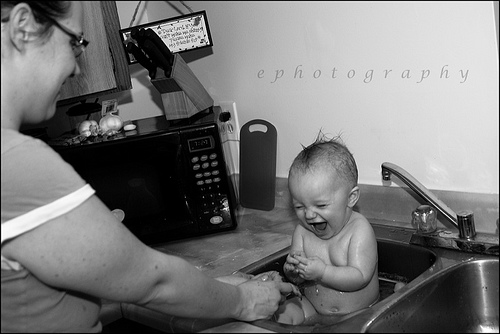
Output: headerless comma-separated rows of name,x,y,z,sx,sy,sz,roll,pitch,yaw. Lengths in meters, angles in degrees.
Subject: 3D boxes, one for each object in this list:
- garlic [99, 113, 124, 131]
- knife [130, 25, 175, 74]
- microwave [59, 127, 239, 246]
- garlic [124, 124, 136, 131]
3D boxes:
garlic,-0.538,-0.174,1.438,0.068,0.067,0.068,-10,-15,-1
knife,-0.307,-0.393,1.331,0.065,0.075,0.286,25,-4,20
microwave,-0.425,0.068,1.457,0.638,0.399,0.385,-10,10,-6
garlic,-0.468,-0.152,1.434,0.034,0.010,0.022,-23,46,-20
